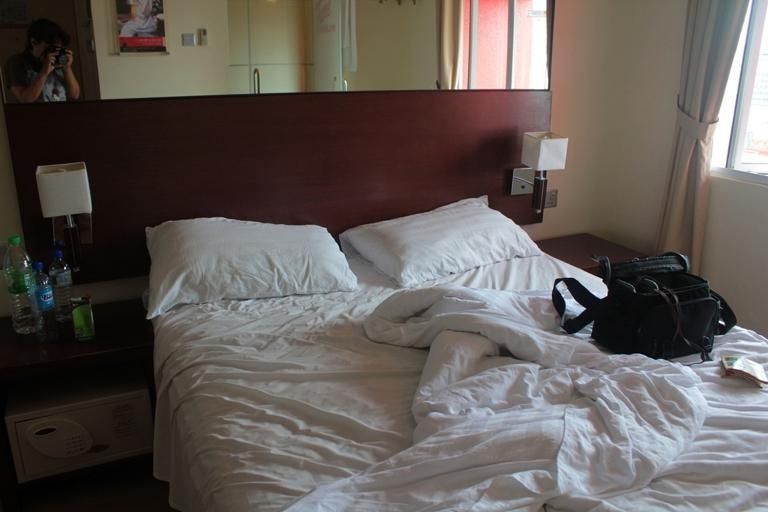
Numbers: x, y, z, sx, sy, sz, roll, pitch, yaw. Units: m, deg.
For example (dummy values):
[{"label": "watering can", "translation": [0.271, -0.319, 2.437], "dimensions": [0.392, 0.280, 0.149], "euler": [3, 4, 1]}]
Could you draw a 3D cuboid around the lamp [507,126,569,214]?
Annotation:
[{"label": "lamp", "translation": [1.082, -0.548, 3.987], "dimensions": [0.344, 0.632, 0.405], "euler": [-3, 16, -13]}]

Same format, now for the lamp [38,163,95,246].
[{"label": "lamp", "translation": [-1.677, -0.278, 3.022], "dimensions": [0.235, 0.416, 0.281], "euler": [-7, 17, -26]}]

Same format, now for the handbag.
[{"label": "handbag", "translation": [1.211, 0.094, 2.639], "dimensions": [0.634, 0.341, 0.548], "euler": [-8, 18, -19]}]

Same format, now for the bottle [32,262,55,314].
[{"label": "bottle", "translation": [-1.732, 0.161, 2.900], "dimensions": [0.074, 0.250, 0.098], "euler": [-7, 18, -26]}]
